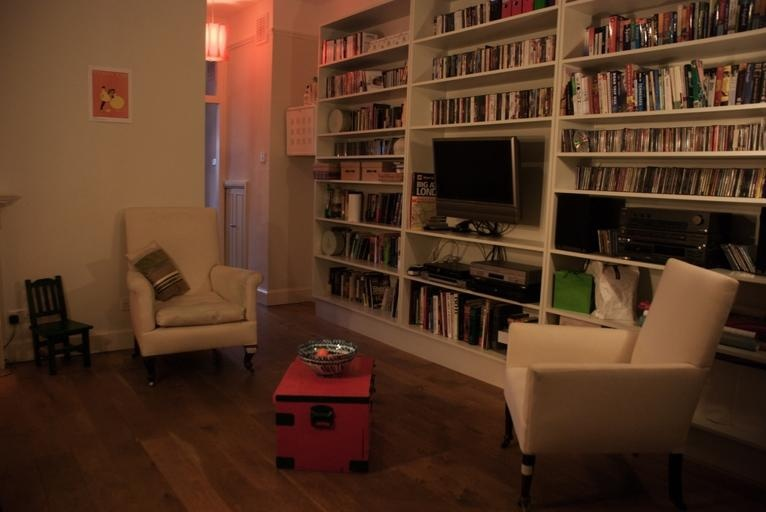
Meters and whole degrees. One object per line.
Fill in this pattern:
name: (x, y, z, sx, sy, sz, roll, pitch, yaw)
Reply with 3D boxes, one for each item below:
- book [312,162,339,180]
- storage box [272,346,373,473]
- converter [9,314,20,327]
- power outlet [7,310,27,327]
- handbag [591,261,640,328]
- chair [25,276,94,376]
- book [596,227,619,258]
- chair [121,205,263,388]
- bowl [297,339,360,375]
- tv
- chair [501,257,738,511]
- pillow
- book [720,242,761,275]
book: (-0.631, -0.922, 5.920, 0.220, 0.138, 0.218, -3, 5, -44)
storage box: (-0.350, 0.886, 3.232, 0.511, 0.381, 0.664, 1, 3, 3)
converter: (-3.053, 0.528, 4.496, 0.113, 0.100, 0.059, 0, -4, -34)
power outlet: (-3.046, 0.515, 4.503, 0.143, 0.129, 0.073, 0, 3, -42)
handbag: (1.621, 0.266, 3.777, 0.434, 0.468, 0.264, 5, 4, 40)
chair: (-2.669, 0.542, 4.476, 0.387, 0.689, 0.599, -8, 15, -37)
book: (1.564, -0.091, 3.774, 0.163, 0.220, 0.167, 8, 12, 37)
chair: (-1.581, 0.256, 4.533, 0.979, 1.241, 1.014, -4, 13, -25)
bowl: (-0.352, 0.599, 3.299, 0.239, 0.100, 0.240, 1, 5, 0)
tv: (0.798, -0.645, 4.500, 0.111, 0.572, 0.789, -17, 18, -39)
chair: (1.374, 0.610, 3.520, 1.383, 1.645, 1.228, 1, 3, 1)
pillow: (-1.816, 0.123, 4.403, 0.131, 0.442, 0.422, -30, 5, 46)
book: (2.203, 0.009, 3.355, 0.040, 0.170, 0.165, -18, 12, -39)
